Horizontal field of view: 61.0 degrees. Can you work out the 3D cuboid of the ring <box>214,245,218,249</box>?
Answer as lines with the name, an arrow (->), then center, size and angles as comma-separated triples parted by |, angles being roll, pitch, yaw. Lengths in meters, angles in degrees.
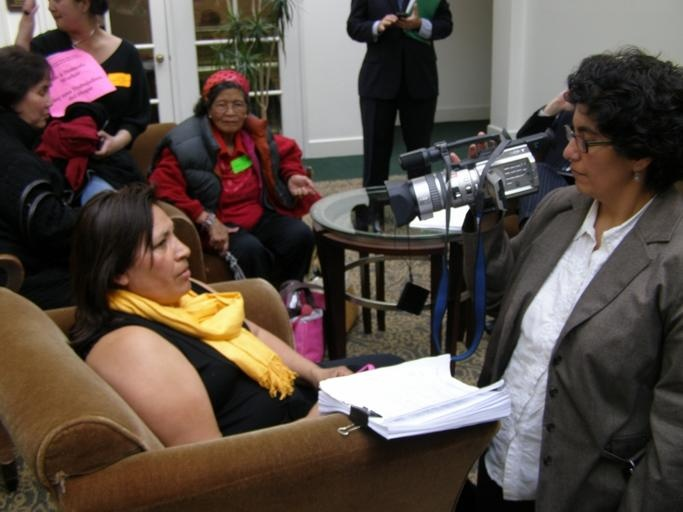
ring -> -0.615, -0.043, 2.834 | 0.010, 0.013, 0.011 | -1, 17, 0

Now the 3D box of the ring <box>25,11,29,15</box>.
ring -> -1.481, -1.140, 2.725 | 0.016, 0.014, 0.016 | 2, 19, -1

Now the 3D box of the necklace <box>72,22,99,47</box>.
necklace -> -1.234, -1.053, 2.790 | 0.104, 0.030, 0.079 | -39, 11, -13

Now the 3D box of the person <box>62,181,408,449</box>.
person -> -0.302, 0.059, 1.714 | 0.625, 0.919, 0.569 | -14, 24, -6

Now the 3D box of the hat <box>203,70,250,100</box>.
hat -> -0.600, -0.886, 2.998 | 0.251, 0.152, 0.201 | -10, 14, -34

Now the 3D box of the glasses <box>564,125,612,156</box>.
glasses -> 0.594, -0.283, 1.425 | 0.067, 0.025, 0.075 | -5, 30, -14
